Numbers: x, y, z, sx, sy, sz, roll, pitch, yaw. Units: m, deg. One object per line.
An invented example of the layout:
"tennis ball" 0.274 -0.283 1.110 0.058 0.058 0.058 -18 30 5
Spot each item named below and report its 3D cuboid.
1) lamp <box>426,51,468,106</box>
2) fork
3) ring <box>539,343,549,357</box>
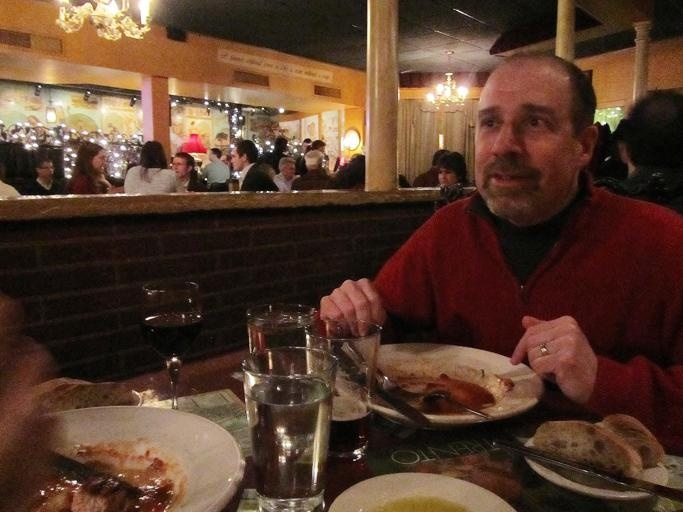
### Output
"lamp" 2.226 -3.343 10.319 0.952 1.060 0.873 0 12 -5
"fork" 0.071 0.188 0.887 0.048 0.025 0.190 -12 22 -39
"ring" 0.456 0.210 1.167 0.016 0.023 0.025 -2 -2 11
